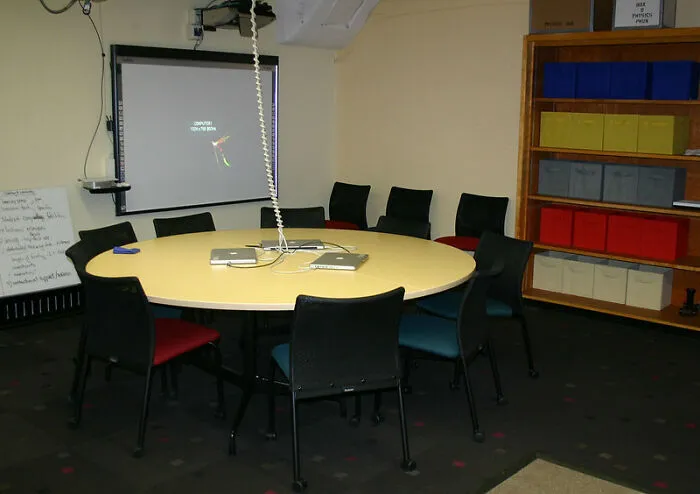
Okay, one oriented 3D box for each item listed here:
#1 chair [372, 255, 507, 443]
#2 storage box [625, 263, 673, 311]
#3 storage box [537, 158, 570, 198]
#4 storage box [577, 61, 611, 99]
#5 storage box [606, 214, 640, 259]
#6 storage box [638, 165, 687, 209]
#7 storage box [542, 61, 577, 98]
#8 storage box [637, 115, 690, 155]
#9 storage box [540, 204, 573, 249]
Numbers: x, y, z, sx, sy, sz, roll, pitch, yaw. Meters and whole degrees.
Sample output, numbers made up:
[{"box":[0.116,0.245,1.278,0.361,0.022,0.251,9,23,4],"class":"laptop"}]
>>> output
[{"box":[0.870,0.507,3.438,0.994,1.292,0.879,6,12,27],"class":"chair"},{"box":[2.863,0.376,4.755,0.326,0.358,0.392,14,19,41],"class":"storage box"},{"box":[2.067,-0.680,5.105,0.320,0.433,0.440,8,9,42],"class":"storage box"},{"box":[2.270,-1.543,4.763,0.358,0.359,0.335,4,6,20],"class":"storage box"},{"box":[2.558,-0.135,4.832,0.437,0.425,0.326,3,6,15],"class":"storage box"},{"box":[2.809,-0.569,4.635,0.395,0.382,0.385,0,10,3],"class":"storage box"},{"box":[2.042,-1.625,4.842,0.336,0.369,0.090,9,11,38],"class":"storage box"},{"box":[2.775,-0.983,4.456,0.401,0.392,0.398,4,5,40],"class":"storage box"},{"box":[2.070,-0.248,5.141,0.468,0.461,0.349,6,10,35],"class":"storage box"}]
